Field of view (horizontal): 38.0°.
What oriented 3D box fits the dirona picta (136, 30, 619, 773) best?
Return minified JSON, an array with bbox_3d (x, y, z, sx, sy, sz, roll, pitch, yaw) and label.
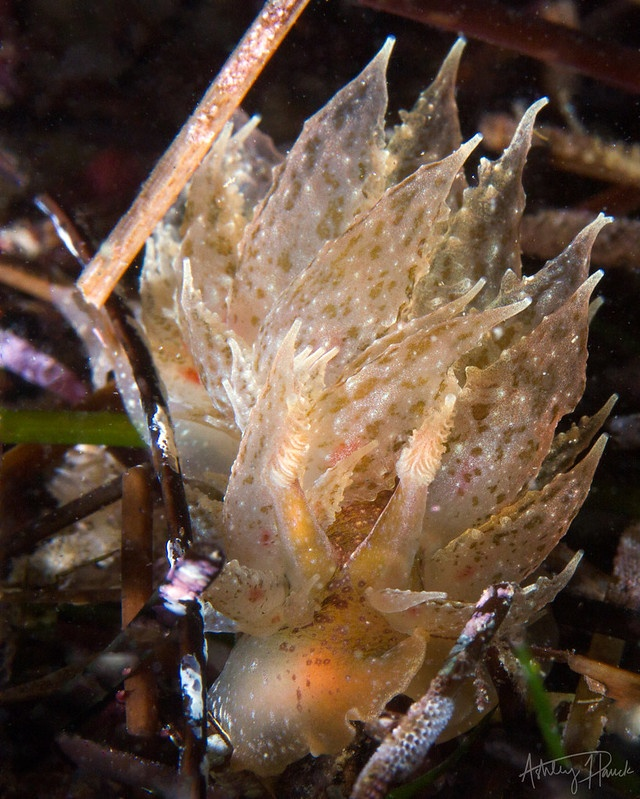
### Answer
[{"bbox_3d":[0.025,0.019,0.992,0.518,0.321,0.685,19,85,-2],"label":"dirona picta"}]
